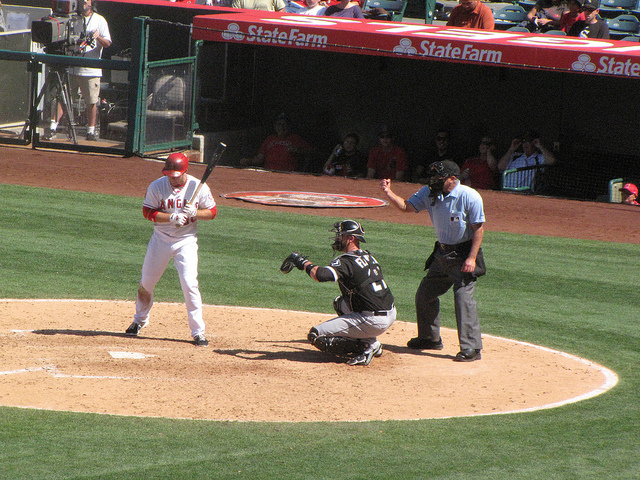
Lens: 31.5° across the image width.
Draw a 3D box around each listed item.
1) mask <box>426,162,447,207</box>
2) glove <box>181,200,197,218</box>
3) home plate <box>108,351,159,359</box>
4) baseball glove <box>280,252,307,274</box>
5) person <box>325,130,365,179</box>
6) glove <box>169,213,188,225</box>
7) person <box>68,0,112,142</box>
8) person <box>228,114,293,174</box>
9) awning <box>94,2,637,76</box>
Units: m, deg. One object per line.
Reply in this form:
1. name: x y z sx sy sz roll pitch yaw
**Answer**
1. mask: 1.343 -0.657 13.259 0.196 0.503 0.260 1 9 -18
2. glove: -1.491 -0.345 13.068 0.070 0.156 0.129 -16 4 1
3. home plate: -2.113 1.303 12.837 0.550 0.035 0.225 2 7 -6
4. baseball glove: -0.283 0.255 12.740 0.329 0.193 0.130 -32 -18 -8
5. person: 0.524 -1.679 22.347 0.833 0.846 0.731 5 8 9
6. glove: -1.618 -0.243 13.000 0.205 0.128 0.104 2 8 -6
7. person: -4.545 -3.333 22.266 0.725 2.775 1.356 3 9 -9
8. person: -0.910 -1.894 23.025 1.205 1.365 0.941 4 -9 9
9. awning: 1.556 -3.861 21.725 9.076 1.135 1.782 5 8 15
